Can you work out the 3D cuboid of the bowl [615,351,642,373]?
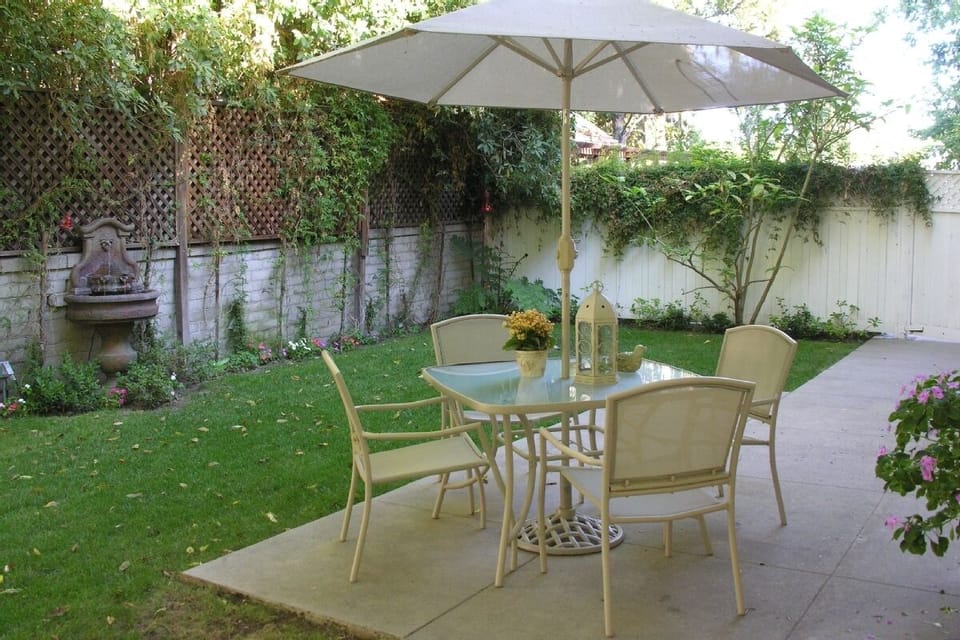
[{"bbox_3d":[0.919,0.264,4.350,0.115,0.081,0.134,0,-1,5],"label":"bowl"}]
